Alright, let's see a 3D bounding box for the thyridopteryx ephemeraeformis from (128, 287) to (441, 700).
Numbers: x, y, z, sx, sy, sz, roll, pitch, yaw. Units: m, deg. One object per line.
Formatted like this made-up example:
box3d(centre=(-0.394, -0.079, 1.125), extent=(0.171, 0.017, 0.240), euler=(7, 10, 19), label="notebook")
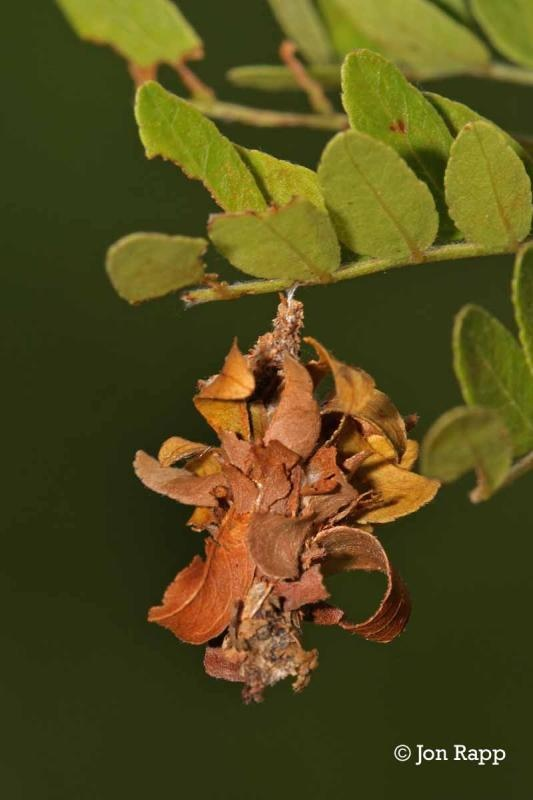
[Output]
box3d(centre=(0.017, 0.091, 1.024), extent=(0.302, 0.297, 0.403), euler=(3, 90, 22), label="thyridopteryx ephemeraeformis")
